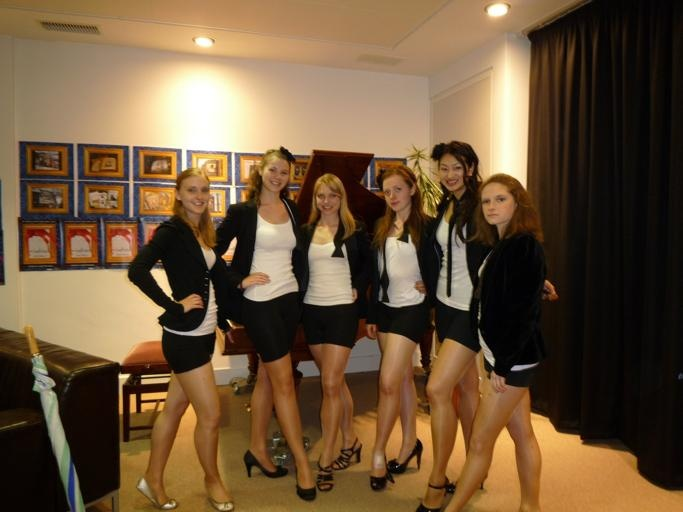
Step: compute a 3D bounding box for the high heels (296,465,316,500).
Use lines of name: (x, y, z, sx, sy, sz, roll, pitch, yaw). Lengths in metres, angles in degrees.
high heels: (-0.249, 1.565, 3.570, 0.147, 0.203, 0.141, -1, 7, -4)

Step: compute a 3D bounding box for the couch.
couch: (-1.798, 0.997, 3.422, 0.874, 1.059, 0.901, 6, -9, -44)

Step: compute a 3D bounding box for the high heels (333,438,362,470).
high heels: (0.030, 1.503, 3.922, 0.251, 0.205, 0.123, -6, 3, -18)

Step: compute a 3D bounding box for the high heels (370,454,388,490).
high heels: (0.265, 1.517, 3.652, 0.140, 0.261, 0.102, 0, 7, 3)

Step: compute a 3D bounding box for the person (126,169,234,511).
person: (-1.060, 0.567, 3.407, 0.616, 2.267, 0.463, -3, 7, -13)
